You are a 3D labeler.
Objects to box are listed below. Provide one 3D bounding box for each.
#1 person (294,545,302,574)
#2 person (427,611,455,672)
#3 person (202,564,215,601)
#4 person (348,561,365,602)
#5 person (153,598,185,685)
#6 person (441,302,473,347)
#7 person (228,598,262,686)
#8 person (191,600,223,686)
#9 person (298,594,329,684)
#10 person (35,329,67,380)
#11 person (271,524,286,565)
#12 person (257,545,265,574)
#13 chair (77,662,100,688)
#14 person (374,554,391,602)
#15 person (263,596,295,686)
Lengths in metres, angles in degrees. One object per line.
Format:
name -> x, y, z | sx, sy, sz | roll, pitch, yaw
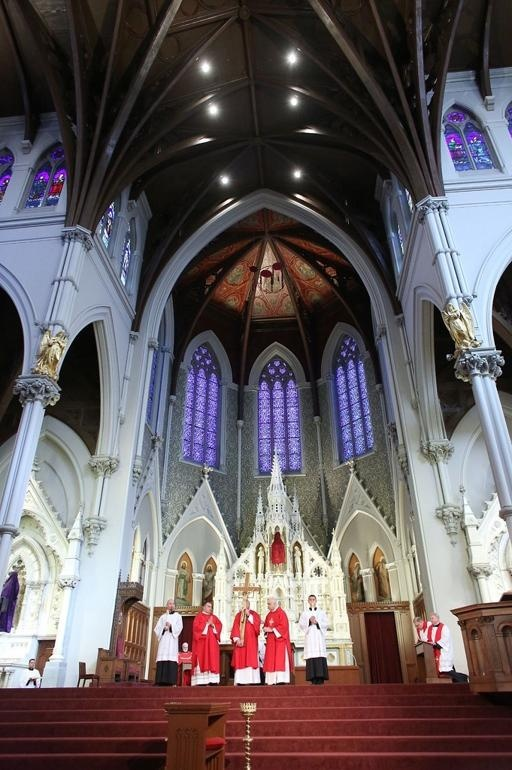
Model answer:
person -> 1.261, 5.210, 13.029 | 0.298, 0.859, 0.171 | -7, -27, 12
person -> 2.850, 3.992, 6.733 | 0.274, 0.788, 0.392 | -6, -27, 11
person -> -1.604, 6.747, 14.878 | 0.389, 1.169, 0.378 | 0, -27, -2
person -> 3.286, 6.363, 14.353 | 0.326, 1.369, 0.651 | 8, -28, -18
person -> -1.505, 4.476, 7.466 | 0.423, 1.189, 1.097 | 4, -28, -9
person -> 3.165, -0.893, 6.742 | 0.394, 0.928, 0.294 | -14, -30, 25
person -> -0.172, 4.461, 7.572 | 0.475, 1.287, 0.727 | 1, -27, -2
person -> -0.837, 4.429, 7.450 | 0.477, 1.208, 1.001 | 3, -28, -7
person -> 0.991, 4.294, 7.360 | 0.466, 1.314, 1.067 | -3, -28, 4
person -> -3.472, -0.549, 7.450 | 0.392, 0.923, 0.202 | 26, -33, -35
person -> 0.670, 4.903, 13.175 | 0.458, 1.050, 0.186 | -3, -27, 5
person -> 0.130, 5.239, 13.091 | 0.271, 0.860, 0.213 | -6, -27, 10
chair -> -3.064, 5.311, 7.995 | 0.379, 0.391, 0.996 | 9, -30, -17
person -> 4.001, 6.053, 13.739 | 0.387, 1.394, 0.288 | -3, 4, 17
person -> 0.343, 4.431, 7.558 | 0.349, 1.247, 0.467 | 27, -42, -36
